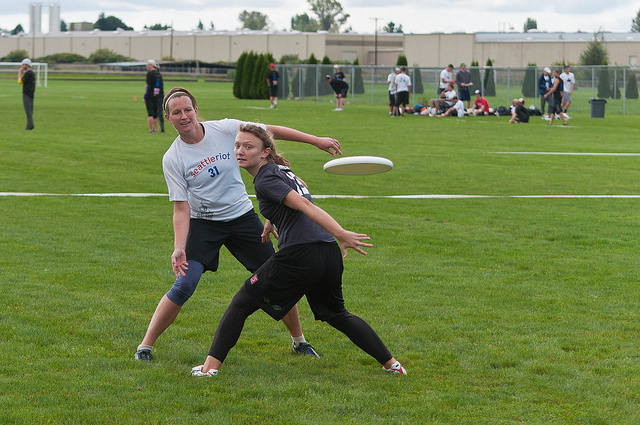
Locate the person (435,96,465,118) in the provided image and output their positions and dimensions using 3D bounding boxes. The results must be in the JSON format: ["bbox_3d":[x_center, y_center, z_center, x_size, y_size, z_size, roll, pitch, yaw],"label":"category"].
[{"bbox_3d":[5.022,-3.964,36.103,1.249,0.756,0.636,-4,11,-33],"label":"person"}]

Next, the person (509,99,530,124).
[{"bbox_3d":[7.156,-3.543,34.090,0.947,0.964,0.768,-3,6,23],"label":"person"}]

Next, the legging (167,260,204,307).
[{"bbox_3d":[-1.832,0.978,13.250,0.494,0.620,0.180,1,9,-10],"label":"legging"}]

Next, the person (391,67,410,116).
[{"bbox_3d":[2.990,-4.380,35.026,0.541,1.769,1.256,3,9,4],"label":"person"}]
